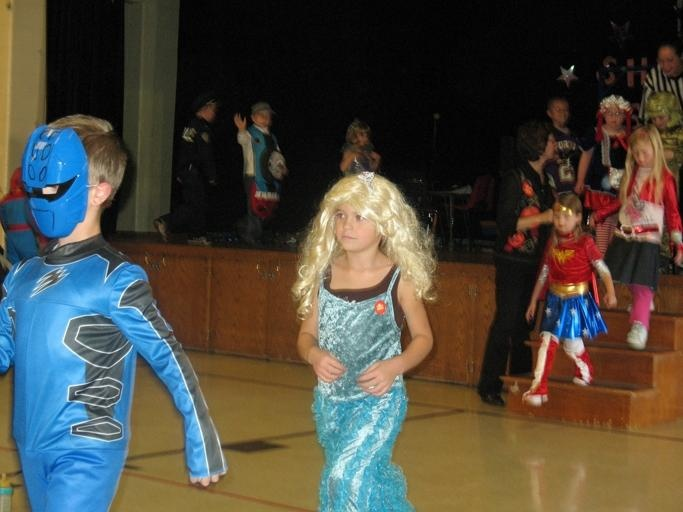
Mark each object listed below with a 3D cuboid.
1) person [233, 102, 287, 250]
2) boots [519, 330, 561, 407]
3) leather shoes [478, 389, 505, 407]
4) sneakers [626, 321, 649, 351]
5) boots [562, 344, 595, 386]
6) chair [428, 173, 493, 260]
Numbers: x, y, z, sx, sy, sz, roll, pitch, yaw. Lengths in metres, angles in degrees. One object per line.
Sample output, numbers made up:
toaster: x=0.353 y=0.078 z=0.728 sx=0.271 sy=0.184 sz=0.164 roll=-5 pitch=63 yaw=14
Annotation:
person: x=-0.934 y=-0.939 z=7.167 sx=0.565 sy=1.569 sz=0.336 roll=1 pitch=2 yaw=-11
boots: x=1.472 y=0.841 z=4.632 sx=0.277 sy=0.580 sz=0.135 roll=2 pitch=2 yaw=38
leather shoes: x=1.261 y=1.192 z=5.235 sx=0.088 sy=0.101 sz=0.219 roll=-3 pitch=3 yaw=-37
sneakers: x=2.267 y=0.611 z=4.765 sx=0.136 sy=0.223 sz=0.155 roll=2 pitch=2 yaw=23
boots: x=1.789 y=0.779 z=4.650 sx=0.165 sy=0.356 sz=0.460 roll=2 pitch=2 yaw=35
chair: x=1.855 y=-0.699 z=10.115 sx=0.796 sy=1.057 sz=0.806 roll=5 pitch=6 yaw=16
